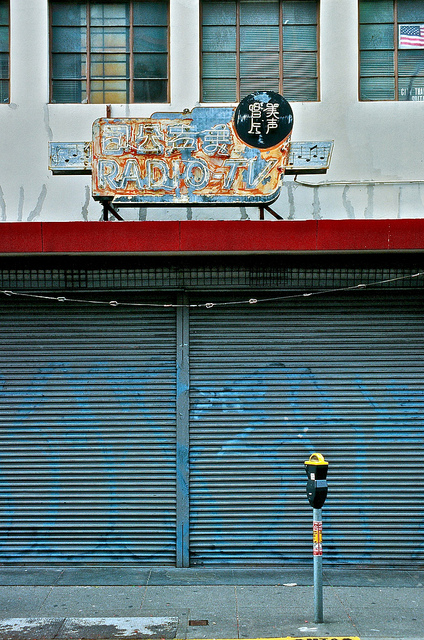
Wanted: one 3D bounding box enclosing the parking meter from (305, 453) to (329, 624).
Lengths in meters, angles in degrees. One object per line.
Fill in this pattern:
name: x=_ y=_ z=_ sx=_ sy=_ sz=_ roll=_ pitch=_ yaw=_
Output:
parking meter: x=1.008 y=2.125 z=12.647 sx=0.346 sy=0.227 sz=1.671 roll=-2 pitch=-83 yaw=12
